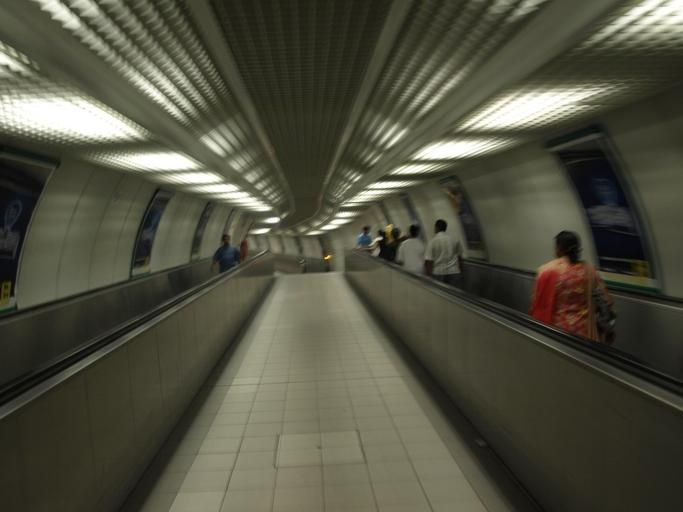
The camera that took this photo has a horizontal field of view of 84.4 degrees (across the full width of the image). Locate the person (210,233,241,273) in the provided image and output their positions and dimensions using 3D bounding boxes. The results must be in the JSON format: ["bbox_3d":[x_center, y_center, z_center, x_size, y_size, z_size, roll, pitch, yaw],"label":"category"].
[{"bbox_3d":[-2.756,-0.063,9.112,0.594,0.910,1.243,-3,5,-19],"label":"person"}]

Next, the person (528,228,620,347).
[{"bbox_3d":[2.046,0.336,3.291,0.591,1.221,0.360,6,42,37],"label":"person"}]

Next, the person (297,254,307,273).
[{"bbox_3d":[-2.554,0.543,25.046,0.389,1.120,0.885,-3,5,-19],"label":"person"}]
